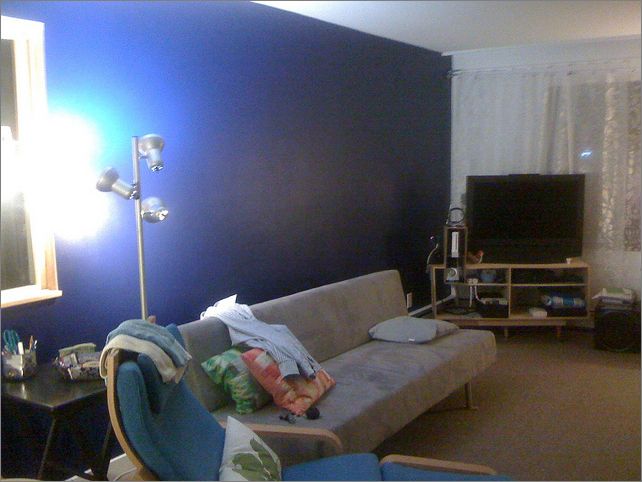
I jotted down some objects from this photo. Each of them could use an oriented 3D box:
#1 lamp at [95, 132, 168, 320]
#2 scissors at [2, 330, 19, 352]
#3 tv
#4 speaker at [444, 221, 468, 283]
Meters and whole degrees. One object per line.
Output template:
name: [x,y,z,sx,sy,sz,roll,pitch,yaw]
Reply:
lamp: [-1.117,-0.070,3.246,0.392,1.150,0.431,-5,7,-15]
scissors: [-1.715,0.541,2.910,0.038,0.131,0.081,-26,-37,19]
tv: [2.223,-0.246,5.658,1.087,0.798,0.142,0,-2,5]
speaker: [1.388,0.135,5.449,0.217,0.563,0.632,1,5,18]
